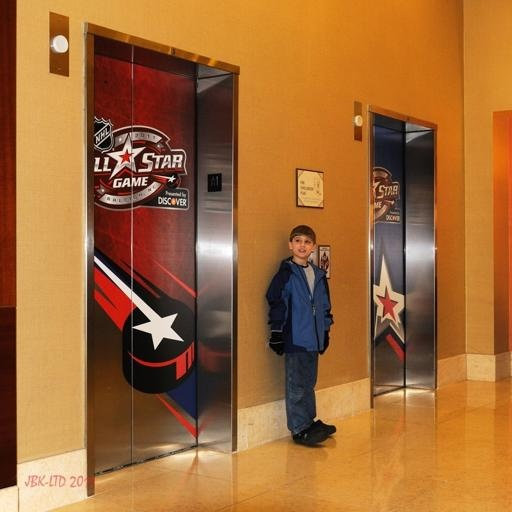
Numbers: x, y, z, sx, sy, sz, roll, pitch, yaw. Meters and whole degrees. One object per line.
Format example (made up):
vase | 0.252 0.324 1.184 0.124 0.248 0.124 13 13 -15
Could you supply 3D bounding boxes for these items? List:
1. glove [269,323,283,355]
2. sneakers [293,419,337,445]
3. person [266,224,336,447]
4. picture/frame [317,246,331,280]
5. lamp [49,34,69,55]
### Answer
glove | 0.143 0.579 3.924 0.100 0.224 0.120 -1 7 2
sneakers | 0.447 1.271 4.034 0.136 0.120 0.248 -7 1 39
person | 0.342 0.575 4.085 0.583 1.579 0.487 -4 7 -23
picture/frame | 0.541 0.047 4.515 0.029 0.337 0.217 -6 -9 38
lamp | -0.997 -1.063 2.825 0.043 0.089 0.081 2 14 25
